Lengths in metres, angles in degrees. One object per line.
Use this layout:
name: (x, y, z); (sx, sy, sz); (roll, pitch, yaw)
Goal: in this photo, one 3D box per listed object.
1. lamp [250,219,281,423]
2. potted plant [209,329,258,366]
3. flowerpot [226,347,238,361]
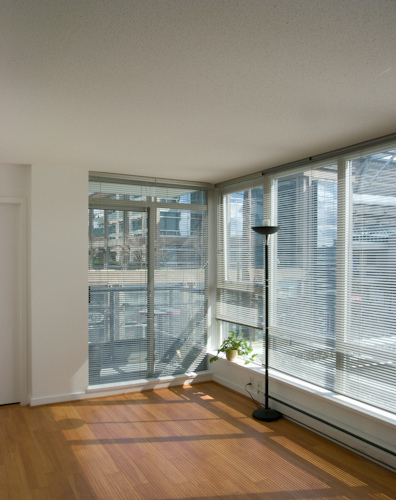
lamp: (0.664, 0.648, 4.193); (0.270, 1.888, 0.806); (0, -2, 7)
potted plant: (0.430, 1.131, 5.023); (0.242, 0.355, 0.602); (1, -2, -28)
flowerpot: (0.397, 1.238, 5.107); (0.159, 0.150, 0.154); (0, -5, 15)
